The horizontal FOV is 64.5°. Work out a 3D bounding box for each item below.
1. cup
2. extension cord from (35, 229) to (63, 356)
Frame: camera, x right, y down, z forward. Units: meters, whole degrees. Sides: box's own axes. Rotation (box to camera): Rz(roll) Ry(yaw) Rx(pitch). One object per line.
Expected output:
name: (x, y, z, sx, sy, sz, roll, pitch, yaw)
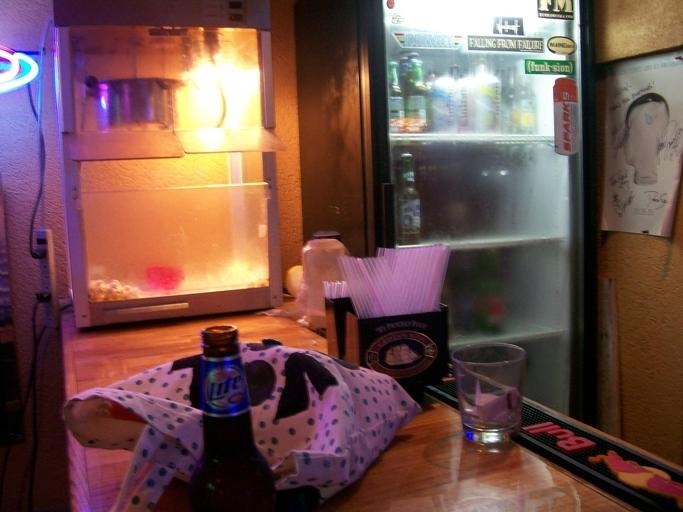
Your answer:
cup: (0.241, 0.216, 0.929, 0.128, 0.152, 0.133, -1, 1, 0)
extension cord: (-0.982, 0.102, 1.818, 0.090, 0.363, 0.198, -1, 7, -18)
